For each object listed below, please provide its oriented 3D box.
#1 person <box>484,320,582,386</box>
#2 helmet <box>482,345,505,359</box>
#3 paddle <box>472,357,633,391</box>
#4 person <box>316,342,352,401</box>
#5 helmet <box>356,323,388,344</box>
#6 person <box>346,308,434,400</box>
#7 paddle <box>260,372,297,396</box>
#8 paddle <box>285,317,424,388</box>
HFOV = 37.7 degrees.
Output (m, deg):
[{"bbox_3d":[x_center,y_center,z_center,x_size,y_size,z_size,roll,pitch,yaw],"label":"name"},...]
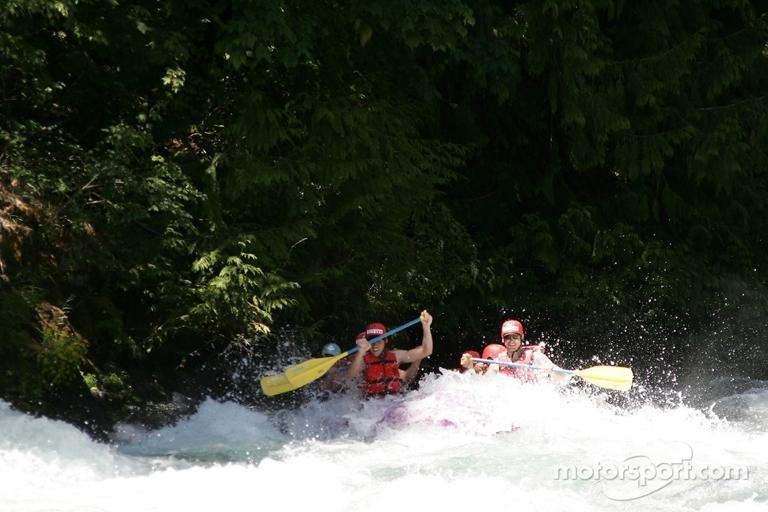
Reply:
[{"bbox_3d":[2.279,1.484,17.552,0.979,0.436,1.126,-12,25,10],"label":"person"},{"bbox_3d":[1.656,1.434,16.846,0.253,0.218,0.237,26,5,-3],"label":"helmet"},{"bbox_3d":[2.590,1.710,16.348,1.983,0.619,0.457,-6,5,9],"label":"paddle"},{"bbox_3d":[-0.746,1.777,16.991,0.245,0.286,0.787,8,-43,-25],"label":"person"},{"bbox_3d":[-0.199,1.172,16.855,0.370,0.216,0.254,-1,24,23],"label":"helmet"},{"bbox_3d":[0.054,1.508,17.377,1.116,2.378,0.714,-3,4,-36],"label":"person"},{"bbox_3d":[-1.550,1.893,16.600,0.449,0.288,0.193,-9,-20,-8],"label":"paddle"},{"bbox_3d":[-0.541,1.484,17.327,2.220,0.327,0.099,-26,-25,-23],"label":"paddle"}]
